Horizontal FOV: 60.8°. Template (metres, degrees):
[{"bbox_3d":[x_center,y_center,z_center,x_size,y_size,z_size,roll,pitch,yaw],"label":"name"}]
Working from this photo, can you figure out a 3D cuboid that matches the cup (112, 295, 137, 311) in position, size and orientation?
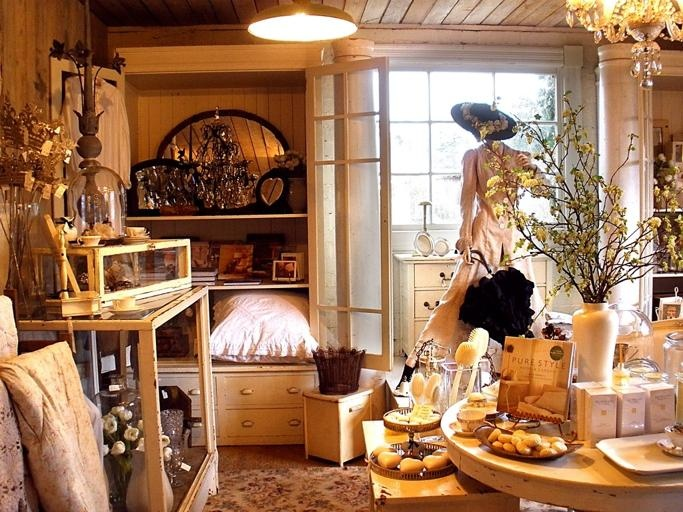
[{"bbox_3d":[-0.996,0.211,2.632,0.083,0.069,0.065,-1,4,-15],"label":"cup"}]

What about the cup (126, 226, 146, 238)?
[{"bbox_3d":[-1.074,-0.122,3.030,0.084,0.062,0.065,2,-1,-37],"label":"cup"}]

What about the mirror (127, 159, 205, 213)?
[{"bbox_3d":[-1.424,-0.562,4.729,0.596,0.499,0.058,-3,-3,-35],"label":"mirror"}]

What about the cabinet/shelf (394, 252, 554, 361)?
[{"bbox_3d":[1.120,0.678,4.988,1.289,1.306,0.558,-1,2,-4],"label":"cabinet/shelf"}]

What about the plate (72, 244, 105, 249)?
[{"bbox_3d":[-1.177,-0.047,2.674,0.157,0.021,0.124,-2,3,-15],"label":"plate"}]

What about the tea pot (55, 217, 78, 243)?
[{"bbox_3d":[-1.256,-0.125,2.651,0.099,0.124,0.103,0,11,0],"label":"tea pot"}]

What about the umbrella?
[{"bbox_3d":[1.117,0.335,4.139,0.423,0.610,0.241,-19,-19,3],"label":"umbrella"}]

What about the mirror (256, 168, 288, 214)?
[{"bbox_3d":[-0.559,-0.517,4.688,0.334,0.417,0.050,2,5,19],"label":"mirror"}]

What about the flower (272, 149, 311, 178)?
[{"bbox_3d":[-0.403,-0.734,4.707,0.229,0.216,0.235,4,4,40],"label":"flower"}]

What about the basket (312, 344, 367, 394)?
[{"bbox_3d":[-0.012,0.785,4.019,0.346,0.304,0.369,5,-12,-21],"label":"basket"}]

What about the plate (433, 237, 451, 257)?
[{"bbox_3d":[0.918,-0.077,5.276,0.051,0.158,0.147,-5,4,-44],"label":"plate"}]

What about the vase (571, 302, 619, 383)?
[{"bbox_3d":[1.020,0.343,2.338,0.166,0.318,0.168,0,4,26],"label":"vase"}]

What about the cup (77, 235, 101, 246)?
[{"bbox_3d":[-1.183,-0.079,2.690,0.067,0.032,0.058,1,2,-1],"label":"cup"}]

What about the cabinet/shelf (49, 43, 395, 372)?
[{"bbox_3d":[-0.638,-0.502,4.586,1.856,2.363,1.144,-3,24,-4],"label":"cabinet/shelf"}]

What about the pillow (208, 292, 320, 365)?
[{"bbox_3d":[-0.576,0.474,4.534,0.827,0.293,0.980,0,20,-10],"label":"pillow"}]

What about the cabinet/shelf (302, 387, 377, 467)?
[{"bbox_3d":[-0.020,1.161,4.015,0.405,0.442,0.475,0,-1,27],"label":"cabinet/shelf"}]

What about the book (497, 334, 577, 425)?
[{"bbox_3d":[0.768,0.493,2.273,0.301,0.363,0.068,4,-5,35],"label":"book"}]
